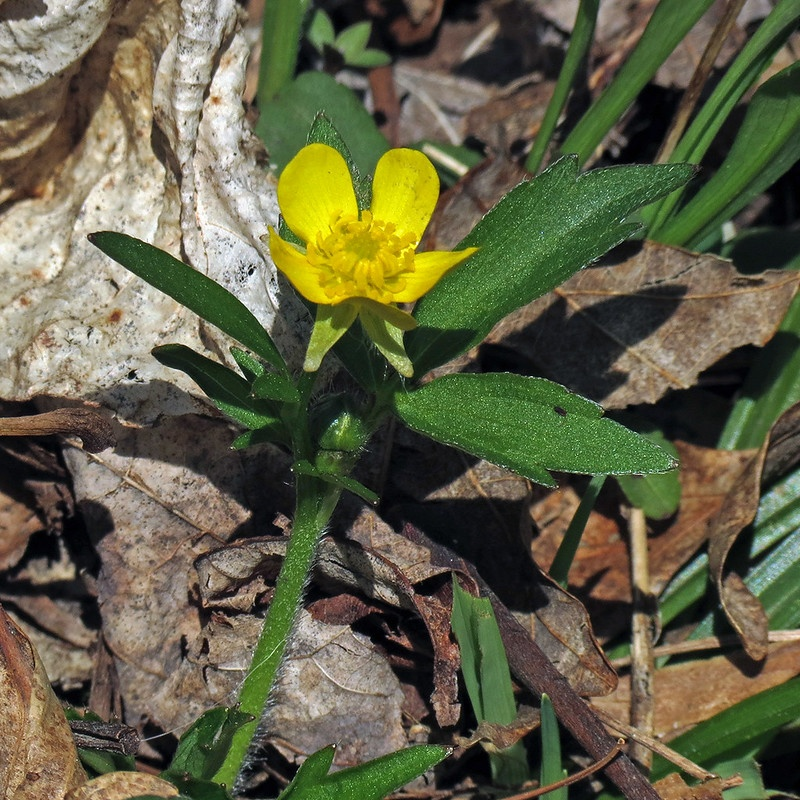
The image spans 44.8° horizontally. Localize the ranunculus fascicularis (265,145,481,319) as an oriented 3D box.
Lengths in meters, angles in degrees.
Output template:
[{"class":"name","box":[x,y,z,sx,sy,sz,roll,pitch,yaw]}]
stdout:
[{"class":"ranunculus fascicularis","box":[-0.060,-0.369,2.012,0.397,0.331,0.123,28,68,-4]}]
